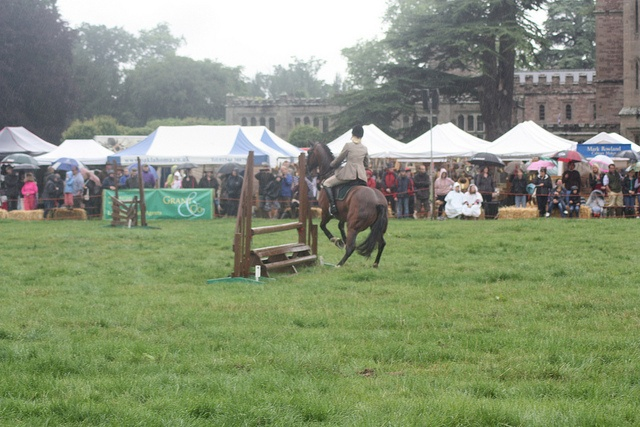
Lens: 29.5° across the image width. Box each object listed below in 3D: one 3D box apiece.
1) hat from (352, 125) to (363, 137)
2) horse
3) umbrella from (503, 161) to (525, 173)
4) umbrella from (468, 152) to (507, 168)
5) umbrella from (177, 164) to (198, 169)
[{"bbox_3d":[2.086,-4.624,68.304,0.575,0.638,0.538,0,1,8],"label":"hat"},{"bbox_3d":[1.569,-0.555,68.433,4.308,6.981,1.576,1,1,38],"label":"horse"},{"bbox_3d":[13.295,-3.287,83.906,1.083,0.440,1.053,-2,19,14],"label":"umbrella"},{"bbox_3d":[10.893,-3.611,80.264,2.325,0.989,2.105,0,1,8],"label":"umbrella"},{"bbox_3d":[-9.049,-3.308,82.811,1.327,0.424,0.867,0,1,-9],"label":"umbrella"}]
